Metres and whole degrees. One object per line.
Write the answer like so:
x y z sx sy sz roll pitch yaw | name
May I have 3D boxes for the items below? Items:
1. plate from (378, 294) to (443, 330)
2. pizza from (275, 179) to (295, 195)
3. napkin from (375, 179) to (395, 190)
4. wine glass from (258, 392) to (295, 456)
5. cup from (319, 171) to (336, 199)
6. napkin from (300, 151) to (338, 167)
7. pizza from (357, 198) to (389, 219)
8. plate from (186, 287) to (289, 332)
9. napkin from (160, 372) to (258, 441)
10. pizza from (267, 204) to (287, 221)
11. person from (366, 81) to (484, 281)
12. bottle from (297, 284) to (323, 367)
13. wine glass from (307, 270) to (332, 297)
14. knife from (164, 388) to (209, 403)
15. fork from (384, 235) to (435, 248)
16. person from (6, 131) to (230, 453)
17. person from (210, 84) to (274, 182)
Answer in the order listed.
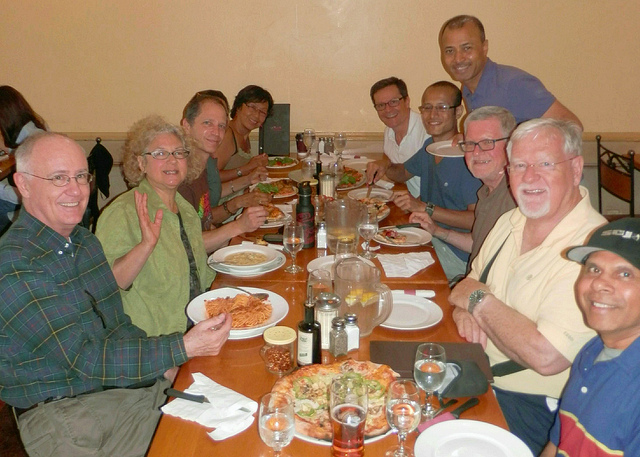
0.384 0.397 2.306 0.367 0.367 0.039 -3 59 0 | plate
-0.273 -0.337 4.087 0.108 0.036 0.121 1 31 11 | pizza
0.551 -0.385 4.334 0.101 0.026 0.086 23 20 22 | napkin
-0.141 0.653 1.700 0.113 0.201 0.192 -3 18 2 | wine glass
0.051 -0.327 3.685 0.165 0.240 0.162 0 8 0 | cup
0.029 -0.702 5.041 0.284 0.104 0.276 18 29 38 | napkin
0.350 -0.130 3.320 0.127 0.030 0.125 -10 35 -17 | pizza
-0.364 0.361 2.369 0.250 0.041 0.250 10 21 17 | plate
-0.387 0.662 1.825 0.221 0.025 0.171 13 27 24 | napkin
-0.313 -0.110 3.517 0.122 0.037 0.126 4 17 -8 | pizza
0.788 -0.248 4.134 0.999 1.702 0.814 9 5 -5 | person
-0.049 0.426 1.982 0.101 0.260 0.072 -5 18 -4 | bottle
-0.001 0.245 2.214 0.102 0.096 0.102 0 4 1 | wine glass
-0.496 0.628 1.875 0.151 0.024 0.022 13 66 8 | knife
0.539 0.082 3.101 0.363 0.031 0.042 6 0 0 | fork
-0.944 0.264 2.167 0.821 1.299 0.684 -10 19 -16 | person
-0.712 -0.857 4.613 0.489 1.229 0.550 4 44 -5 | person
